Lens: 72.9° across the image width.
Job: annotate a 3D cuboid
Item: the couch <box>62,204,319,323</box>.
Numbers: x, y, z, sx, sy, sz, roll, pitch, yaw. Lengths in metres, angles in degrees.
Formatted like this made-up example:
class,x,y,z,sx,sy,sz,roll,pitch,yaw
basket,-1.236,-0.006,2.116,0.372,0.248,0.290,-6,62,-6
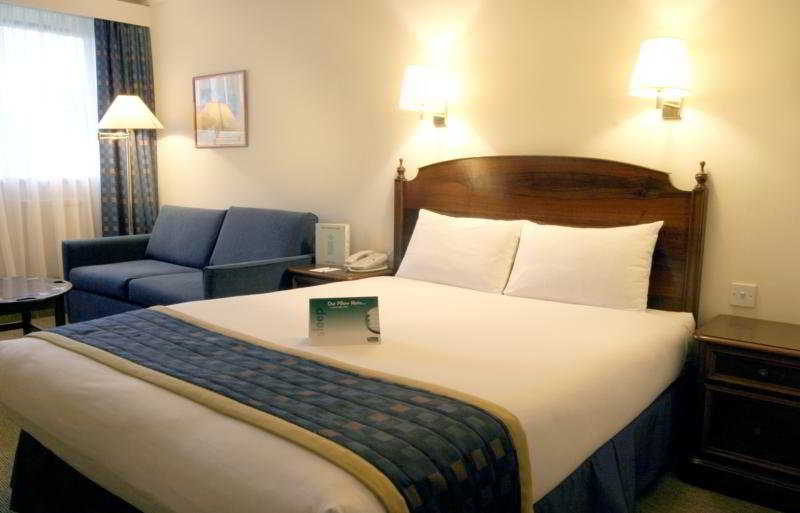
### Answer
class,x,y,z,sx,sy,sz,roll,pitch,yaw
couch,-1.916,0.146,4.862,2.371,1.062,1.102,8,14,36

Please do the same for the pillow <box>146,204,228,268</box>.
class,x,y,z,sx,sy,sz,roll,pitch,yaw
pillow,-2.074,-0.194,5.201,0.864,0.591,0.208,10,-5,36

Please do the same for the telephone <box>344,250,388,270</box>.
class,x,y,z,sx,sy,sz,roll,pitch,yaw
telephone,-0.269,0.034,4.298,0.234,0.082,0.178,-2,6,-45

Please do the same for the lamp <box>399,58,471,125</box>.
class,x,y,z,sx,sy,sz,roll,pitch,yaw
lamp,0.208,-1.184,3.950,0.394,0.483,0.514,8,14,35

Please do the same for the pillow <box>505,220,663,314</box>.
class,x,y,z,sx,sy,sz,roll,pitch,yaw
pillow,1.131,0.086,3.267,0.620,0.367,0.212,2,-38,33
